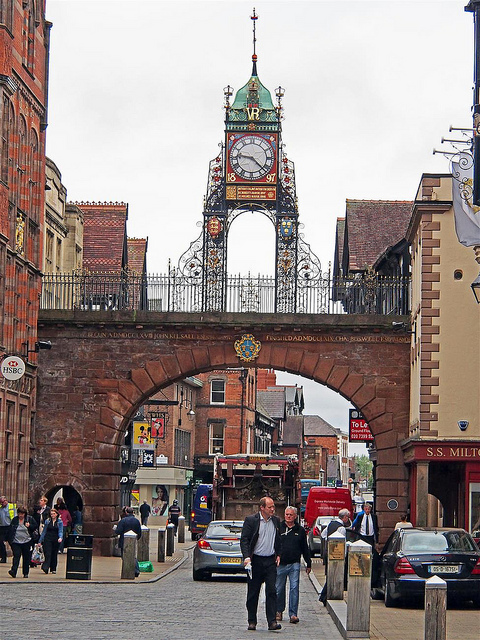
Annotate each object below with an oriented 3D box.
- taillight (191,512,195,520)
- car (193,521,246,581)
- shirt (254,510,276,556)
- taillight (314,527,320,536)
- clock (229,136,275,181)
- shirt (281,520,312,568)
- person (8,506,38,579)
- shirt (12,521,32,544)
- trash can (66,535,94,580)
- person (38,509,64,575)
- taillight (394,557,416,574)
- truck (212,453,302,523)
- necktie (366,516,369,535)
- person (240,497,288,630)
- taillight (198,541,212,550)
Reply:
[{"bbox_3d":[-1.580,6.656,50.017,0.046,0.215,0.143,4,15,-16],"label":"taillight"},{"bbox_3d":[-0.422,4.639,29.430,0.979,1.007,2.234,1,-2,2],"label":"car"},{"bbox_3d":[0.344,2.948,19.973,0.374,0.650,0.347,6,-25,-5],"label":"shirt"},{"bbox_3d":[2.119,5.785,40.433,0.145,0.224,0.206,2,-11,-6],"label":"taillight"},{"bbox_3d":[0.320,-4.254,38.430,1.146,1.226,0.157,-1,-11,5],"label":"clock"},{"bbox_3d":[0.746,3.201,21.203,0.572,0.733,0.265,2,-5,15],"label":"shirt"},{"bbox_3d":[-4.182,4.238,28.080,0.497,1.369,1.083,2,-12,-9],"label":"person"},{"bbox_3d":[-4.109,3.984,27.673,0.305,0.452,0.266,3,-25,-7],"label":"shirt"},{"bbox_3d":[-3.032,4.432,27.654,0.464,0.873,1.029,2,-12,-8],"label":"trash can"},{"bbox_3d":[-3.704,4.286,28.656,0.473,1.268,1.654,2,-12,-8],"label":"person"},{"bbox_3d":[2.501,3.731,22.371,0.109,0.254,0.421,8,-15,-35],"label":"taillight"},{"bbox_3d":[0.434,4.569,39.710,2.284,2.497,1.907,1,6,-2],"label":"truck"},{"bbox_3d":[2.285,3.670,26.240,0.046,0.276,0.129,-1,-11,6],"label":"necktie"},{"bbox_3d":[0.288,3.243,19.663,0.539,1.753,0.903,0,-11,0],"label":"person"},{"bbox_3d":[-0.688,4.425,28.944,0.298,0.167,0.115,-4,-12,17],"label":"taillight"}]
